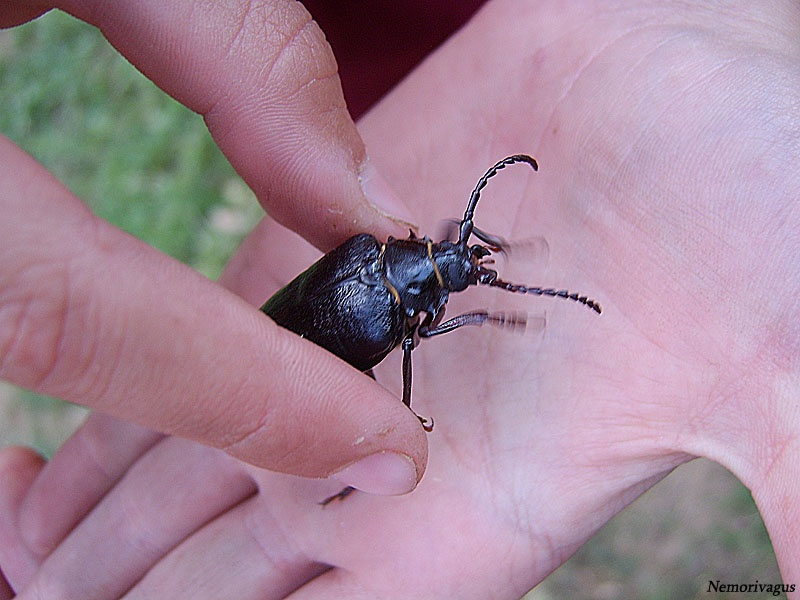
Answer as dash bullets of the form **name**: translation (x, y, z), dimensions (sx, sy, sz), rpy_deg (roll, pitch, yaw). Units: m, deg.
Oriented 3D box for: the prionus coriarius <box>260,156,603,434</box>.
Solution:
- **prionus coriarius**: translation (0.035, 0.065, 2.988), dimensions (1.139, 0.352, 0.926), rpy_deg (-19, 55, 2)
